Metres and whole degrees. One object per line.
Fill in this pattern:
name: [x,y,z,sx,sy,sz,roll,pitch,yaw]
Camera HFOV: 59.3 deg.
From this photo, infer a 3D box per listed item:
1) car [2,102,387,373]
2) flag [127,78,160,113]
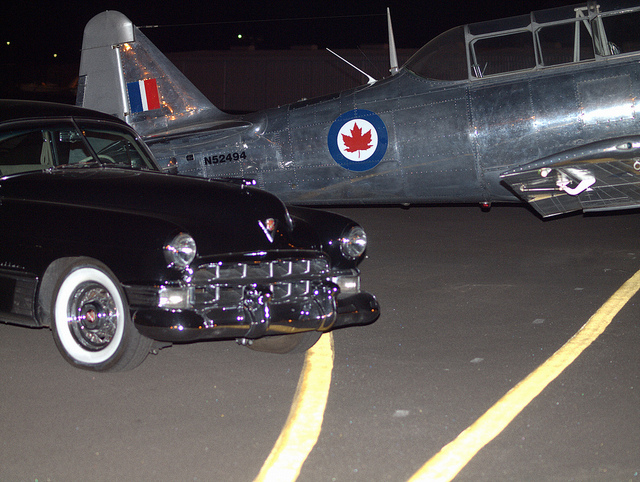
car: [-1.451,0.002,4.917,3.317,1.689,2.091,6,7,22]
flag: [-3.310,-2.710,10.394,0.497,0.556,0.026,-13,0,-8]
